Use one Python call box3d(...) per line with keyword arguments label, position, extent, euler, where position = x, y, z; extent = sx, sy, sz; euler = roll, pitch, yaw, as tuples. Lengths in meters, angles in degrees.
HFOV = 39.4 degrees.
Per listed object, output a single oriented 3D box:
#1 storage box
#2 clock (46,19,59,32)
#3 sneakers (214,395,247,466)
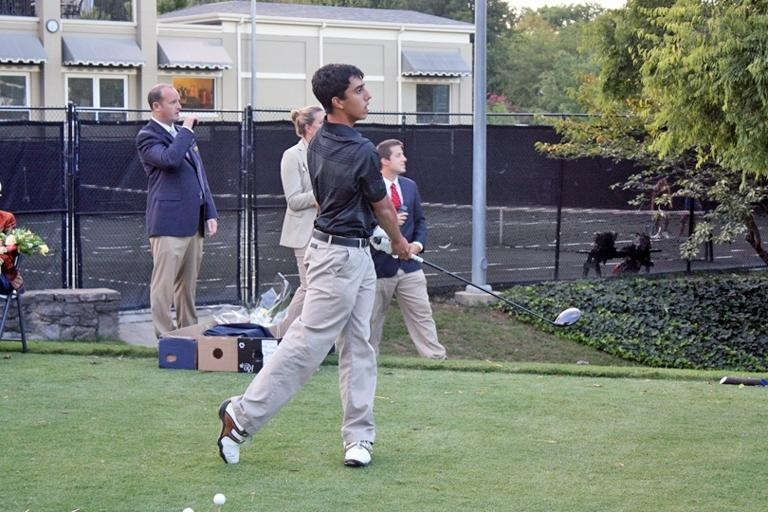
box3d(label="storage box", position=(-1.829, 1.078, 12.371), extent=(1.235, 0.629, 1.023), euler=(0, 0, 22))
box3d(label="clock", position=(-11.085, -7.730, 35.901), extent=(0.272, 0.459, 0.471), euler=(0, 1, 33))
box3d(label="sneakers", position=(-1.414, 1.612, 9.979), extent=(0.270, 0.645, 0.224), euler=(-5, 1, 15))
